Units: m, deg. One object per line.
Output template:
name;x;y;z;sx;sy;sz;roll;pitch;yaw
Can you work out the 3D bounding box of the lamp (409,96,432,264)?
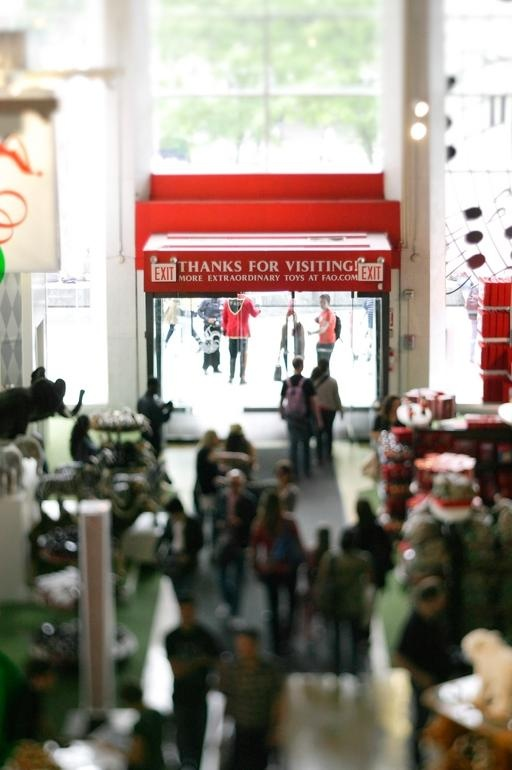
lamp;2.096;-2.668;8.795;0.280;1.975;0.468;-1;3;13
